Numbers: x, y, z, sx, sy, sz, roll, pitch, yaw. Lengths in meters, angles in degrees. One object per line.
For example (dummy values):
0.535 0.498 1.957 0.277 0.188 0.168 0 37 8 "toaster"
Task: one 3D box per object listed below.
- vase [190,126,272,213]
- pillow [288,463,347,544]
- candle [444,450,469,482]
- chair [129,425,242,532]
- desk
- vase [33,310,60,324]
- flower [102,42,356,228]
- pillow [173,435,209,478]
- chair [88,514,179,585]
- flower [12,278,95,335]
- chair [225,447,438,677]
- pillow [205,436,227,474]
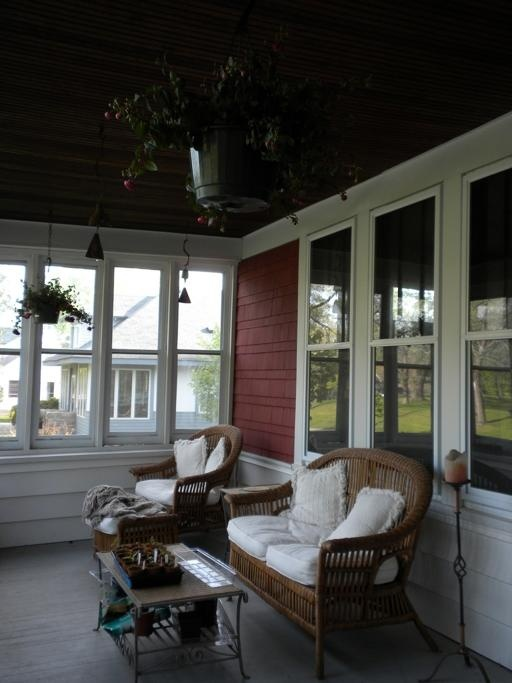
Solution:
-0.055 -0.527 1.679 0.284 0.180 0.280 3 10 7 "vase"
0.404 1.038 3.490 0.345 0.345 0.124 -11 -27 35 "pillow"
0.977 0.613 2.698 0.102 0.168 0.099 -1 -6 14 "candle"
-0.626 1.232 4.904 0.869 0.948 0.843 8 -9 -31 "chair"
-0.416 1.365 2.708 0.603 0.412 0.878 2 -5 -16 "desk"
-1.861 -0.208 4.902 0.137 0.098 0.131 -9 -11 42 "vase"
-0.024 -0.670 1.727 0.577 0.388 0.480 5 11 30 "flower"
-0.599 1.085 5.129 0.296 0.315 0.123 -22 -41 29 "pillow"
-0.876 1.339 4.012 0.555 0.506 0.761 2 -3 -26 "chair"
-1.824 -0.324 5.071 0.610 0.416 0.600 4 1 21 "flower"
0.407 1.142 3.179 0.738 0.991 1.194 3 -7 -25 "chair"
-0.359 1.025 4.956 0.108 0.222 0.349 19 -27 -3 "pillow"
